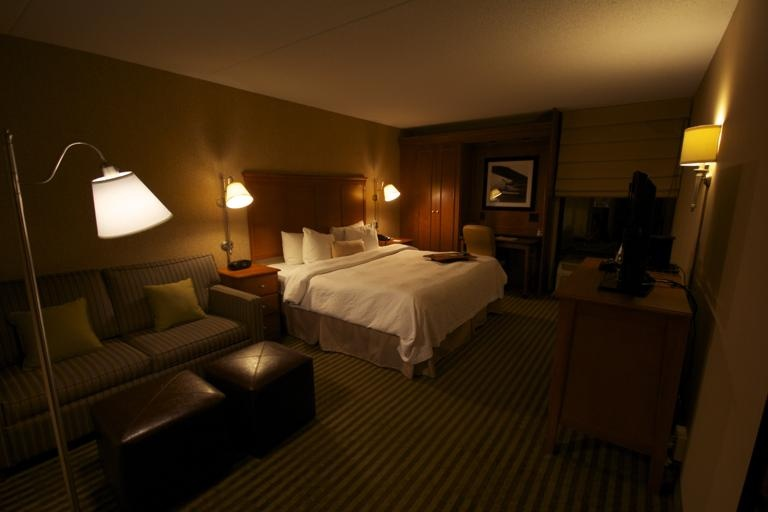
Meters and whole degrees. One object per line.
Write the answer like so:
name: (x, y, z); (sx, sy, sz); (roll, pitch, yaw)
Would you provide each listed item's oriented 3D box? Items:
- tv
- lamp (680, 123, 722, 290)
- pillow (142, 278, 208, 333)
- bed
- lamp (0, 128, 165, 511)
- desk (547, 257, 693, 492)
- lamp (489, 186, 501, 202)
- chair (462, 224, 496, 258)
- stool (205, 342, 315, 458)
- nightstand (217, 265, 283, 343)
tv: (2.060, -0.196, 4.438); (0.400, 1.000, 0.429); (4, 12, 27)
lamp: (2.923, -0.461, 4.922); (0.405, 1.475, 0.370); (-6, 12, -23)
pillow: (-2.149, 0.498, 5.465); (0.487, 0.438, 0.247); (-14, 14, -41)
bed: (-0.219, 0.264, 6.504); (2.595, 1.804, 2.675); (7, 17, 29)
lamp: (-2.341, 0.492, 4.341); (0.901, 2.902, 1.683); (-9, 13, -34)
desk: (2.133, 1.040, 5.273); (1.291, 2.109, 2.217); (5, 12, 26)
lamp: (1.766, -0.965, 8.449); (0.040, 0.176, 0.172); (9, 31, -34)
chair: (1.346, -0.225, 7.691); (0.406, 0.582, 0.518); (10, 17, 38)
stool: (-1.173, 1.197, 4.799); (0.844, 0.791, 0.868); (9, 18, 34)
nightstand: (-1.539, 0.547, 6.274); (0.529, 0.821, 0.563); (-13, 17, -40)
